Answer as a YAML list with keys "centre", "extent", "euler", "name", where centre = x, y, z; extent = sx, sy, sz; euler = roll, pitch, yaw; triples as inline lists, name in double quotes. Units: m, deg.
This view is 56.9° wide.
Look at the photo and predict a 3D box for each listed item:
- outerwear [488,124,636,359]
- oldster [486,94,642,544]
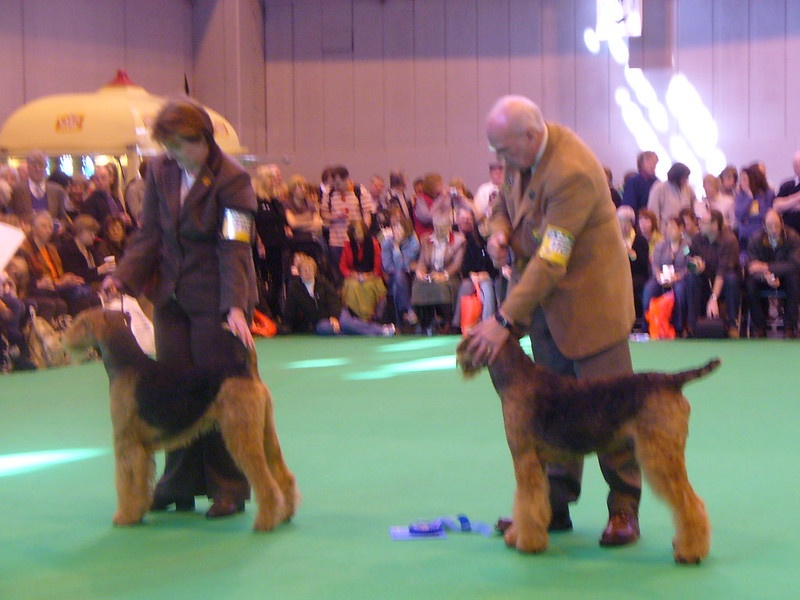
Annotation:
- centre: [0.794, -0.291, 3.602]
  extent: [0.699, 1.135, 0.532]
  euler: [0, 7, 7]
  name: "outerwear"
- centre: [0.761, 0.158, 3.758]
  extent: [0.688, 2.206, 0.842]
  euler: [-5, 6, 2]
  name: "oldster"
